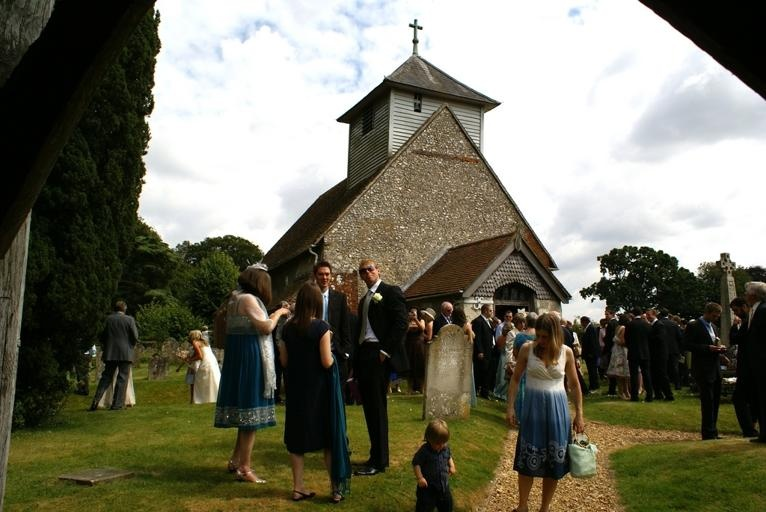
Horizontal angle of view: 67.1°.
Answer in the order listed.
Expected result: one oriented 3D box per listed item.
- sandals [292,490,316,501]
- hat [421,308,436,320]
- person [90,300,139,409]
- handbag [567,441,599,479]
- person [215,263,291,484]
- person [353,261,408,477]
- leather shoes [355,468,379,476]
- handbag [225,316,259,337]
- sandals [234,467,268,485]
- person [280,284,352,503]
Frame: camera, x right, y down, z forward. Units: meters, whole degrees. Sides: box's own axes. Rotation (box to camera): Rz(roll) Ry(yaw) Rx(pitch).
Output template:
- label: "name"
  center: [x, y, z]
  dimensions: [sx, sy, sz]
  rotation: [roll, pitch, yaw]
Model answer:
- label: "sandals"
  center: [-0.955, 2.831, 6.969]
  dimensions: [0.266, 0.104, 0.101]
  rotation: [3, -5, -38]
- label: "hat"
  center: [1.291, 1.537, 15.503]
  dimensions: [0.426, 0.229, 0.429]
  rotation: [33, -11, -10]
- label: "person"
  center: [-6.027, 2.181, 13.149]
  dimensions: [0.753, 2.537, 1.202]
  rotation: [8, -17, -25]
- label: "handbag"
  center: [2.384, 2.428, 6.972]
  dimensions: [0.341, 0.434, 0.295]
  rotation: [-2, -15, 8]
- label: "person"
  center: [-1.719, 1.429, 7.493]
  dimensions: [0.767, 2.833, 0.984]
  rotation: [4, -15, -15]
- label: "person"
  center: [-0.050, 1.604, 8.588]
  dimensions: [0.757, 3.007, 1.124]
  rotation: [1, -15, -2]
- label: "leather shoes"
  center: [-0.228, 2.935, 7.946]
  dimensions: [0.296, 0.134, 0.119]
  rotation: [11, -23, -8]
- label: "handbag"
  center: [-1.814, 0.883, 7.348]
  dimensions: [0.230, 0.233, 0.351]
  rotation: [1, -12, -3]
- label: "sandals"
  center: [-1.706, 2.788, 7.434]
  dimensions: [0.480, 0.219, 0.166]
  rotation: [5, -7, -1]
- label: "person"
  center: [-0.831, 1.635, 7.071]
  dimensions: [0.863, 2.559, 0.502]
  rotation: [4, -15, -13]
